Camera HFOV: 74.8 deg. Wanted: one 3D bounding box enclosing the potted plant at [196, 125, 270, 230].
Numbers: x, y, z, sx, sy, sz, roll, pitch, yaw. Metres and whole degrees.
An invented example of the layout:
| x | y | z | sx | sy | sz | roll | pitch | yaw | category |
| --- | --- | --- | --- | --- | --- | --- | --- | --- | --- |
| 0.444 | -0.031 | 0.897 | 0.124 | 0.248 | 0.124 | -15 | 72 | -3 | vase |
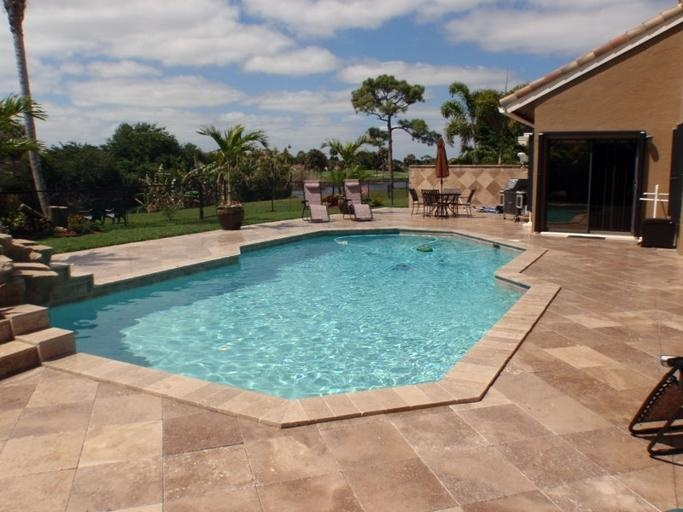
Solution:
| x | y | z | sx | sy | sz | roll | pitch | yaw | category |
| --- | --- | --- | --- | --- | --- | --- | --- | --- | --- |
| -4.355 | -2.942 | 16.585 | 3.202 | 3.455 | 2.987 | 14 | 22 | 39 | potted plant |

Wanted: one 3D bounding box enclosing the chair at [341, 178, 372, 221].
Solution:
| x | y | z | sx | sy | sz | roll | pitch | yaw | category |
| --- | --- | --- | --- | --- | --- | --- | --- | --- | --- |
| 0.609 | -2.268 | 17.542 | 0.768 | 1.276 | 1.841 | -6 | 18 | -15 | chair |
